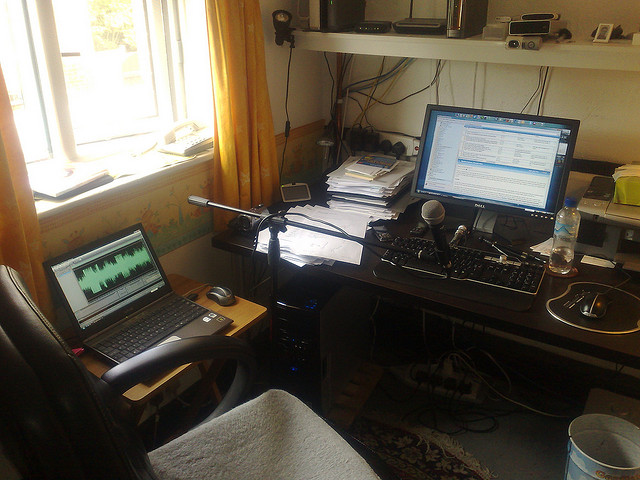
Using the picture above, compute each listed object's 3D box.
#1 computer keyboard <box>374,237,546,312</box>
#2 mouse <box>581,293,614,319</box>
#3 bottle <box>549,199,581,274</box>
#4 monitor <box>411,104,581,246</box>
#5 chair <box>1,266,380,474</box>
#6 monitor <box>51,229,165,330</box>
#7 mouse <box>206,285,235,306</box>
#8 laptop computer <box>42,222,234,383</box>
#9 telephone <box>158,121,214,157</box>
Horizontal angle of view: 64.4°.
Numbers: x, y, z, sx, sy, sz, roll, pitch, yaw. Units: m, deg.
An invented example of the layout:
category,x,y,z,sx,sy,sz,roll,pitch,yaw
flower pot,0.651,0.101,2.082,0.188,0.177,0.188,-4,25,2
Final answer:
category,x,y,z,sx,sy,sz,roll,pitch,yaw
computer keyboard,0.495,0.103,1.828,0.562,0.065,0.303,14,28,22
mouse,0.893,0.206,1.634,0.068,0.047,0.132,23,32,35
bottle,0.895,-0.025,1.839,0.081,0.241,0.185,14,28,23
monitor,0.712,-0.253,2.029,0.515,0.437,0.170,14,33,27
chair,-0.354,0.374,1.510,0.459,0.633,0.641,1,24,14
monitor,-0.713,0.135,1.767,0.018,0.277,0.437,-15,10,28
mouse,-0.365,0.195,1.879,0.098,0.037,0.057,20,28,37
laptop computer,-0.618,0.282,1.747,0.515,0.311,0.489,21,36,31
telephone,-0.577,-0.459,2.225,0.232,0.098,0.292,-30,30,-13
